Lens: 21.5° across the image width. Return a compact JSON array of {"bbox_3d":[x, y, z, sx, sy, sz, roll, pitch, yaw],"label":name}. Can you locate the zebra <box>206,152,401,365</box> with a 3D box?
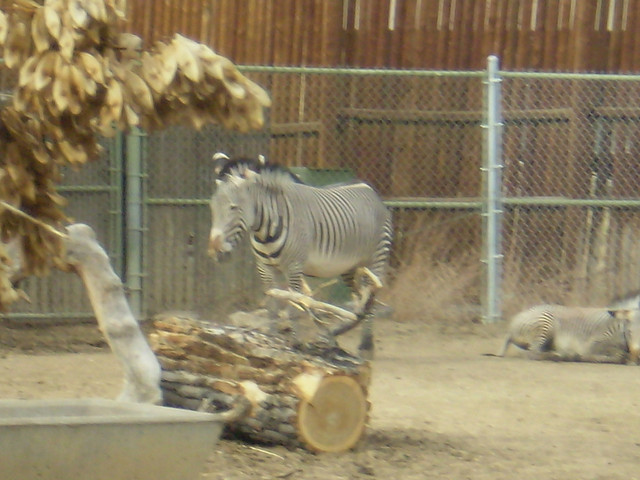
[{"bbox_3d":[-0.090,0.132,15.104,0.629,1.639,2.353,1,-3,44],"label":"zebra"}]

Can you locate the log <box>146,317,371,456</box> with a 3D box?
[{"bbox_3d":[-0.508,1.066,13.396,1.792,0.714,1.148,17,16,42],"label":"log"}]
